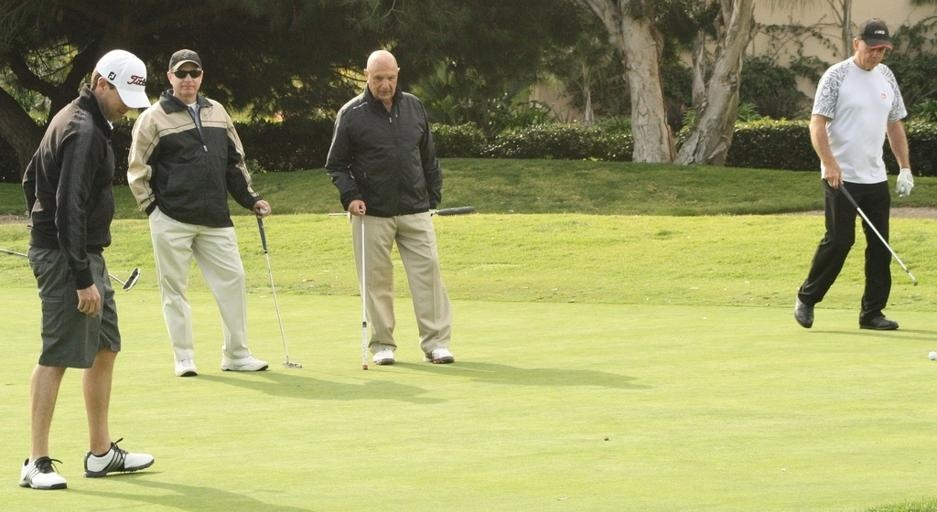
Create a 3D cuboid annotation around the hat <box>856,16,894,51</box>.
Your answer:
[{"bbox_3d":[5.033,-2.811,15.495,0.361,0.220,0.438,-1,28,-4],"label":"hat"}]

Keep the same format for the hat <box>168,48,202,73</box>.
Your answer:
[{"bbox_3d":[-3.284,-2.275,14.441,0.329,0.246,0.217,-2,4,-15],"label":"hat"}]

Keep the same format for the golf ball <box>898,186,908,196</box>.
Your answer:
[{"bbox_3d":[5.628,-0.845,16.155,0.119,0.071,0.117,0,6,0],"label":"golf ball"}]

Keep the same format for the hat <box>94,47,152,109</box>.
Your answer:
[{"bbox_3d":[-3.400,-1.796,12.541,0.714,0.379,0.453,38,28,5],"label":"hat"}]
